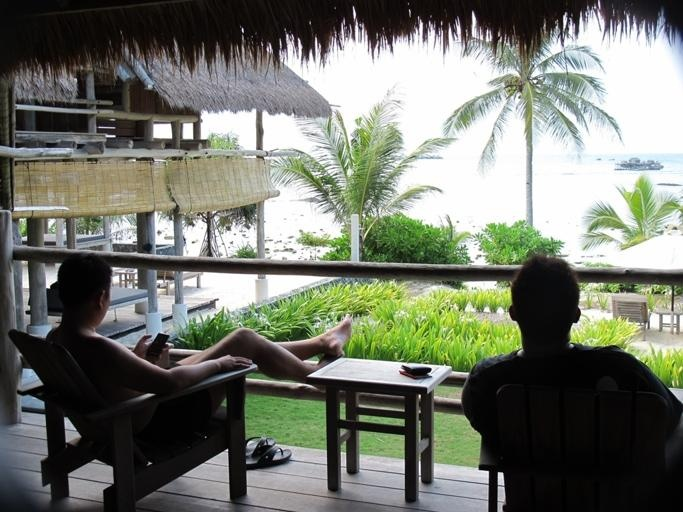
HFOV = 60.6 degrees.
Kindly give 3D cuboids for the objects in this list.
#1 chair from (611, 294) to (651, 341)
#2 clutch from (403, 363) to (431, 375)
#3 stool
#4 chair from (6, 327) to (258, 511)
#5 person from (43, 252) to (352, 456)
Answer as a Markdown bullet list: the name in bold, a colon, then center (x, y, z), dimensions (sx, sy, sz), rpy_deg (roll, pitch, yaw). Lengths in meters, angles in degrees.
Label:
- **chair**: center (6.026, 1.246, 12.129), dimensions (0.631, 0.893, 1.263), rpy_deg (2, 5, 25)
- **clutch**: center (0.420, 0.649, 3.308), dimensions (0.156, 0.051, 0.082), rpy_deg (0, 1, 10)
- **stool**: center (0.231, 0.866, 3.499), dimensions (0.820, 0.858, 0.684), rpy_deg (1, 4, 23)
- **chair**: center (-1.121, 0.802, 3.309), dimensions (0.937, 1.049, 1.162), rpy_deg (4, 5, 38)
- **person**: center (-0.684, 0.489, 3.502), dimensions (1.791, 1.100, 0.820), rpy_deg (-6, 5, -37)
